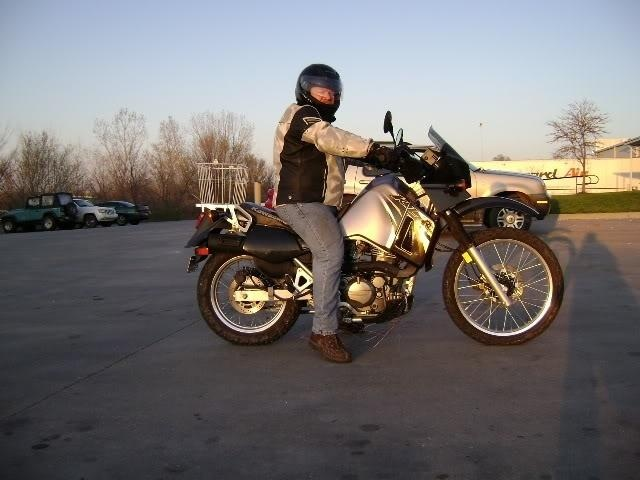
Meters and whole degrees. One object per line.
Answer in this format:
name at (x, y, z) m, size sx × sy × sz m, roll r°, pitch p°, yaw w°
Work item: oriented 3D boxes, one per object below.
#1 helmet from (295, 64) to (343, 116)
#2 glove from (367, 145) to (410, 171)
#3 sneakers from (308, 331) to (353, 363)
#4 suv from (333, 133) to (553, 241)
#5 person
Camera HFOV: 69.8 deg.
helmet at (0.018, -1.431, 4.291) m, size 0.452 × 0.411 × 0.444 m, roll 3°, pitch 37°, yaw -11°
glove at (0.558, -0.679, 3.815) m, size 0.332 × 0.180 × 0.133 m, roll 7°, pitch 5°, yaw 11°
sneakers at (0.079, 0.946, 4.091) m, size 0.400 × 0.237 × 0.154 m, roll 3°, pitch 9°, yaw 43°
suv at (3.698, -1.298, 12.800) m, size 6.549 × 2.148 × 2.623 m, roll -2°, pitch 5°, yaw -1°
person at (0.044, -0.252, 4.101) m, size 0.846 × 2.622 × 0.717 m, roll -4°, pitch 7°, yaw -13°
